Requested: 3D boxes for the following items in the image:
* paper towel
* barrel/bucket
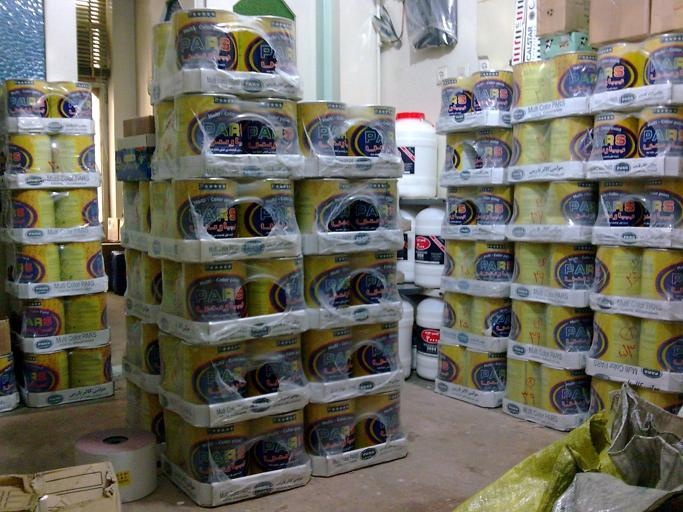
[{"bbox_3d":[-0.996,0.936,2.436,0.330,0.255,0.268,-1,6,-14],"label":"paper towel"},{"bbox_3d":[0.581,-0.119,4.180,0.352,2.005,0.723,1,6,6],"label":"barrel/bucket"}]
